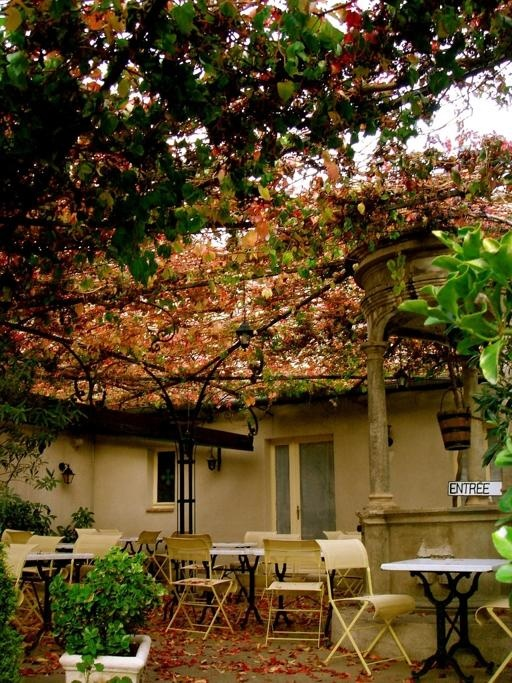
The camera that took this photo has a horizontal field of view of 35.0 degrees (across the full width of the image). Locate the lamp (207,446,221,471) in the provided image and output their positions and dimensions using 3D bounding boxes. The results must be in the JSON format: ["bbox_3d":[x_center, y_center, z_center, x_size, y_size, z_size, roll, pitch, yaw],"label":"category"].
[{"bbox_3d":[-0.663,1.906,12.963,0.232,0.380,0.274,-3,-11,-4],"label":"lamp"}]
